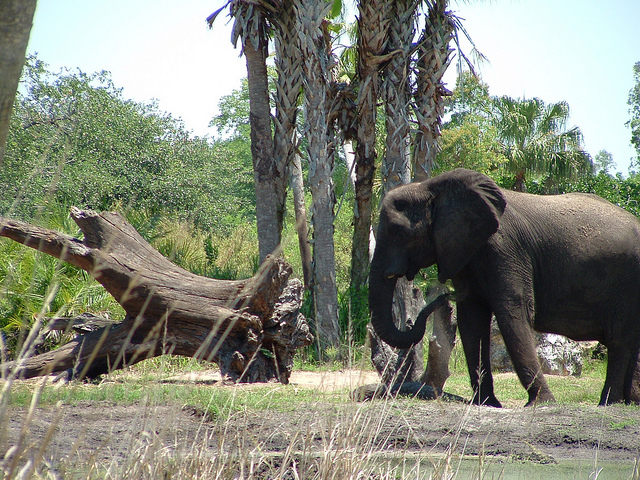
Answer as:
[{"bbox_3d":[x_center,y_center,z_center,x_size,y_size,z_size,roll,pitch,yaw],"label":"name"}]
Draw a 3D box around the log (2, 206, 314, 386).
[{"bbox_3d":[-2.233,0.982,11.330,3.337,1.737,2.743,8,10,10],"label":"log"}]
